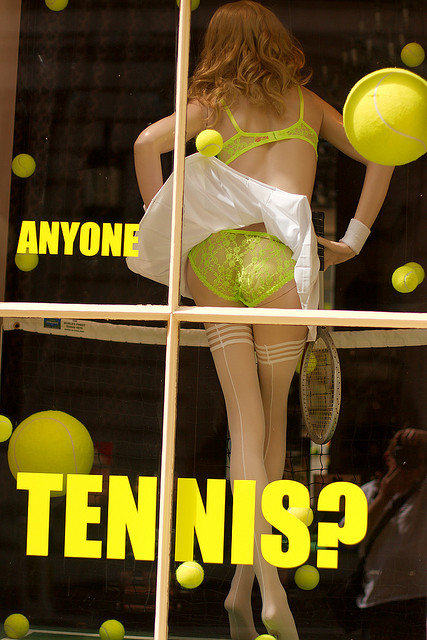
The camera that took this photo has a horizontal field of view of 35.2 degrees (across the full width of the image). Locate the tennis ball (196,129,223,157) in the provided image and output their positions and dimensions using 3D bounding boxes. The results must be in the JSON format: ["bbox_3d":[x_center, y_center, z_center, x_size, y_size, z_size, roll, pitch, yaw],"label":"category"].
[{"bbox_3d":[-0.008,-0.314,1.258,0.045,0.048,0.044,-5,-7,-1],"label":"tennis ball"}]

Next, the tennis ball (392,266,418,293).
[{"bbox_3d":[0.443,-0.077,1.550,0.052,0.057,0.030,13,5,36],"label":"tennis ball"}]

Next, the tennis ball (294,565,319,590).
[{"bbox_3d":[0.213,0.590,1.539,0.052,0.068,0.056,-2,3,0],"label":"tennis ball"}]

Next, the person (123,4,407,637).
[{"bbox_3d":[0.108,-0.050,1.487,0.579,1.479,0.788,-2,3,-9],"label":"person"}]

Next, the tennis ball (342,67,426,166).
[{"bbox_3d":[0.286,-0.327,1.116,0.129,0.131,0.074,-1,3,17],"label":"tennis ball"}]

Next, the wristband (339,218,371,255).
[{"bbox_3d":[0.309,-0.172,1.487,0.076,0.076,0.035,-4,4,-31],"label":"wristband"}]

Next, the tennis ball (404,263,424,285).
[{"bbox_3d":[0.508,-0.104,1.689,0.024,0.048,0.045,-18,-1,-12],"label":"tennis ball"}]

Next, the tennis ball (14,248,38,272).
[{"bbox_3d":[-0.500,-0.146,1.783,0.060,0.054,0.051,-3,4,-18],"label":"tennis ball"}]

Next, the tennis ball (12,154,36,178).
[{"bbox_3d":[-0.502,-0.378,1.766,0.054,0.058,0.031,-17,6,-5],"label":"tennis ball"}]

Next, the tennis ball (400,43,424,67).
[{"bbox_3d":[0.490,-0.626,1.645,0.053,0.049,0.039,-4,4,-36],"label":"tennis ball"}]

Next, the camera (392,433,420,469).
[{"bbox_3d":[0.526,0.364,1.824,0.048,0.075,0.023,-8,-23,33],"label":"camera"}]
